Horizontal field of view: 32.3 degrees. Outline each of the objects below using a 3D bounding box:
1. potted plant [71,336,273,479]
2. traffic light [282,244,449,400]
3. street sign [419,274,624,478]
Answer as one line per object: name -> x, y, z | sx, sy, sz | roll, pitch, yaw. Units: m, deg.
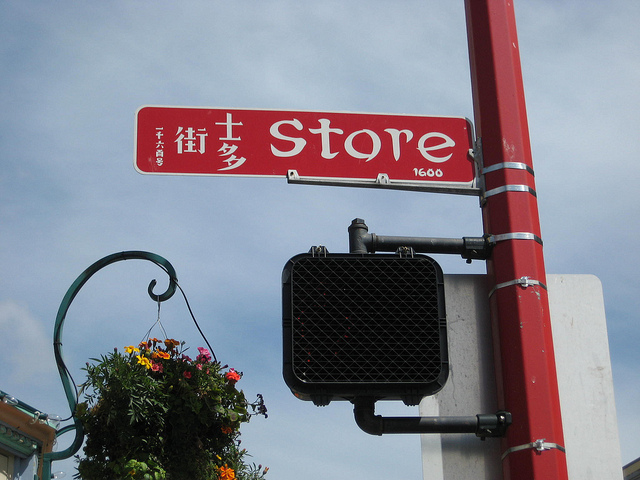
potted plant -> -0.881, 0.968, 5.998 | 0.809, 0.797, 0.725 | 8, -24, -5
traffic light -> 0.170, 0.365, 4.527 | 0.478, 0.580, 0.199 | 1, -21, -4
street sign -> 0.806, 0.616, 4.644 | 0.762, 1.163, 0.019 | 4, -16, -12
